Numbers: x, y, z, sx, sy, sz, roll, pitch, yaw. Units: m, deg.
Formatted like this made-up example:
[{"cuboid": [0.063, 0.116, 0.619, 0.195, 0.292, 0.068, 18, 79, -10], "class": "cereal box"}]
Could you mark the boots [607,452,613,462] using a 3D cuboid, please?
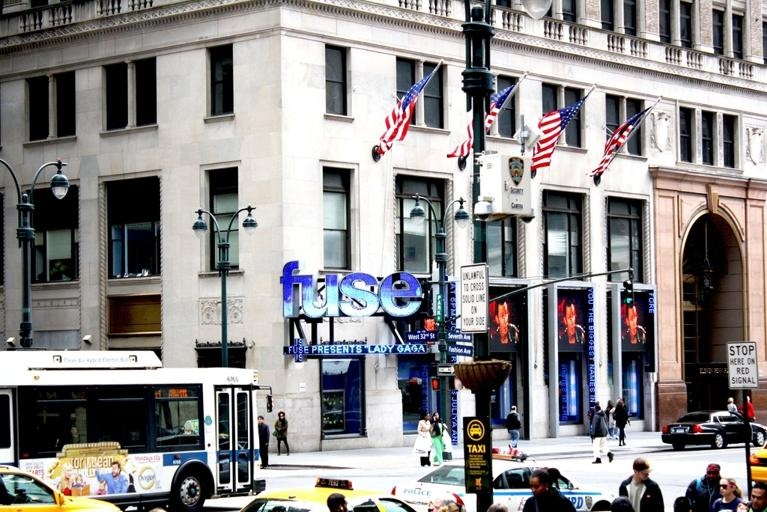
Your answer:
[{"cuboid": [10.273, 9.039, 83.490, 0.178, 0.227, 0.545, 1, -49, 10], "class": "boots"}]

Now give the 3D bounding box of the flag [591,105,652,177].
[{"cuboid": [12.910, -5.903, 97.005, 1.601, 4.218, 2.592, 1, -6, -35], "class": "flag"}]

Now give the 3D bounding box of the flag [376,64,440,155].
[{"cuboid": [0.939, -6.977, 90.139, 2.812, 3.933, 4.130, -1, -9, -6], "class": "flag"}]

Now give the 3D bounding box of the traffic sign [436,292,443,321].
[{"cuboid": [2.642, 2.317, 85.488, 0.432, 1.436, 1.082, -2, -9, -2], "class": "traffic sign"}]

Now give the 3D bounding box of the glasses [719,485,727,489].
[{"cuboid": [11.881, 7.952, 64.562, 0.131, 0.168, 0.494, -1, -10, -6], "class": "glasses"}]

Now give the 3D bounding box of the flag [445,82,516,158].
[{"cuboid": [4.538, -6.558, 89.758, 4.112, 5.198, 2.917, 0, 2, 16], "class": "flag"}]

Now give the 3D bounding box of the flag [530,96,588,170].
[{"cuboid": [8.957, -5.994, 91.679, 2.725, 6.657, 3.154, -2, -2, 4], "class": "flag"}]
